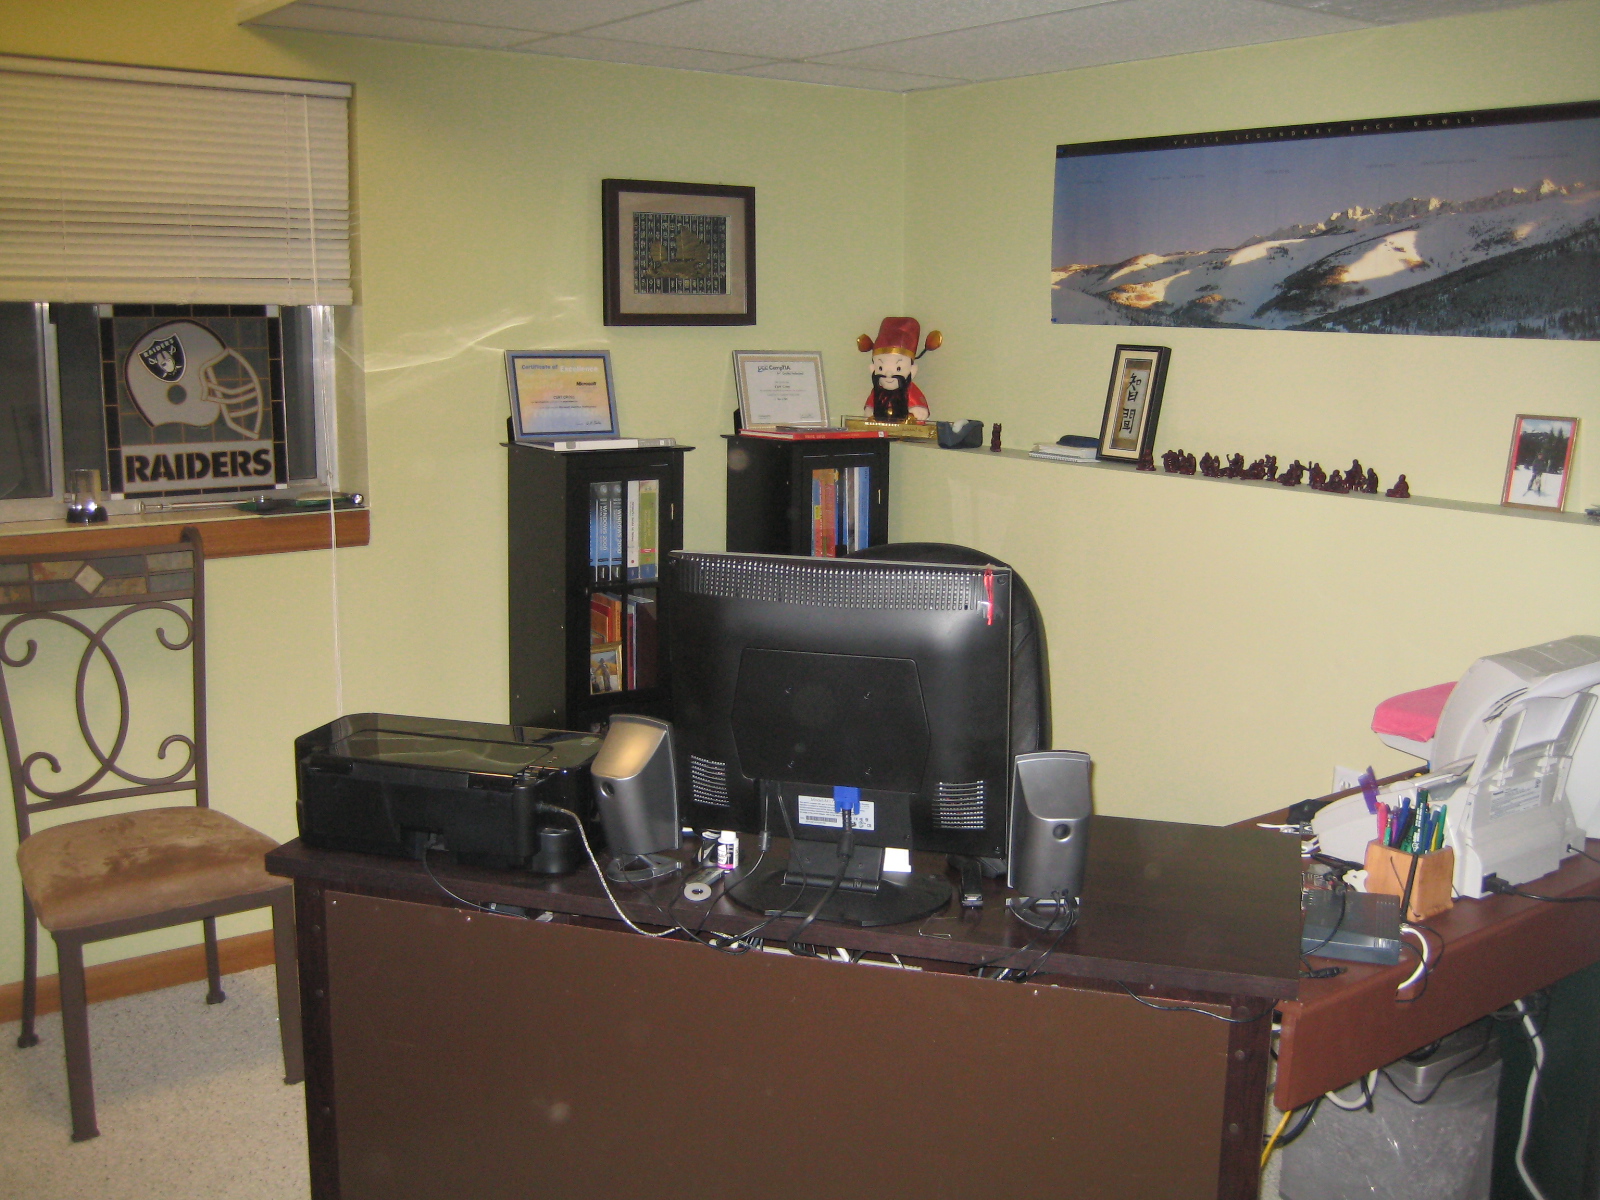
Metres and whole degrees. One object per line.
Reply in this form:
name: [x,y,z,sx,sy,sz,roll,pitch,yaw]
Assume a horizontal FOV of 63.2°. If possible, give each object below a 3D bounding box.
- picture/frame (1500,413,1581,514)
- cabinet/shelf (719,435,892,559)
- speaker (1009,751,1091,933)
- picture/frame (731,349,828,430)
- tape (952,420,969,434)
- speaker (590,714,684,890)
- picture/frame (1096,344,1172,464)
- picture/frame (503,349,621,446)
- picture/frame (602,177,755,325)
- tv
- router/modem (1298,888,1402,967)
picture/frame: [1.998,-0.374,3.512,0.162,0.248,0.075,5,12,31]
cabinet/shelf: [0.134,-0.436,4.960,0.421,0.496,0.400,-7,25,-15]
speaker: [0.491,0.447,2.554,0.159,0.308,0.278,1,10,10]
picture/frame: [-0.087,-0.786,4.875,0.309,0.255,0.043,-3,-2,-28]
tape: [0.609,-0.660,4.876,0.052,0.051,0.036,8,-6,28]
speaker: [-0.344,0.405,2.743,0.181,0.324,0.190,8,9,40]
picture/frame: [1.127,-0.670,4.390,0.126,0.383,0.205,-9,13,-39]
picture/frame: [-0.823,-0.690,4.436,0.361,0.282,0.038,1,-6,-36]
picture/frame: [-0.452,-1.269,4.667,0.578,0.479,0.044,-2,4,-23]
tv: [0.076,0.246,2.587,0.730,0.683,0.470,2,3,22]
router/modem: [1.092,0.650,2.564,0.188,0.092,0.209,4,11,23]
